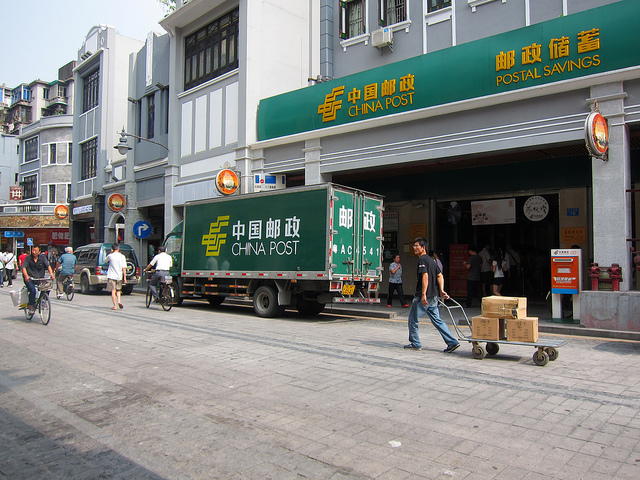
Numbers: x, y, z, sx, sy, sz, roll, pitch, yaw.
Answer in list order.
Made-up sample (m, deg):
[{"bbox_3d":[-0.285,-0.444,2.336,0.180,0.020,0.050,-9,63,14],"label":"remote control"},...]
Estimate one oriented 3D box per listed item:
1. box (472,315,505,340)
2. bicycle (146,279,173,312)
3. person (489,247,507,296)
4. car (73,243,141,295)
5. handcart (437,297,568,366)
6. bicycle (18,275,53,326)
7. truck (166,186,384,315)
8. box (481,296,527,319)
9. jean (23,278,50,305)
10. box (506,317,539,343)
[{"bbox_3d":[3.145,1.638,9.388,0.443,0.355,0.457,0,-2,15],"label":"box"},{"bbox_3d":[-5.157,1.624,15.920,1.137,0.730,0.509,6,-8,1],"label":"bicycle"},{"bbox_3d":[6.026,1.099,16.944,0.534,1.573,1.778,1,1,21],"label":"person"},{"bbox_3d":[-9.072,1.258,21.397,1.973,1.908,3.992,1,2,-39],"label":"car"},{"bbox_3d":[3.396,1.694,9.600,2.199,1.156,0.804,-5,-5,41],"label":"handcart"},{"bbox_3d":[-6.986,1.525,12.688,0.418,1.117,1.276,-1,1,-38],"label":"bicycle"},{"bbox_3d":[-1.927,0.500,16.775,7.498,3.717,3.152,0,-5,33],"label":"truck"},{"bbox_3d":[3.578,1.273,9.574,0.673,0.420,0.339,0,-5,34],"label":"box"},{"bbox_3d":[-7.203,1.317,12.974,0.514,0.592,0.884,6,-13,-43],"label":"jean"},{"bbox_3d":[3.696,1.632,9.176,0.539,0.411,0.420,1,1,22],"label":"box"}]
